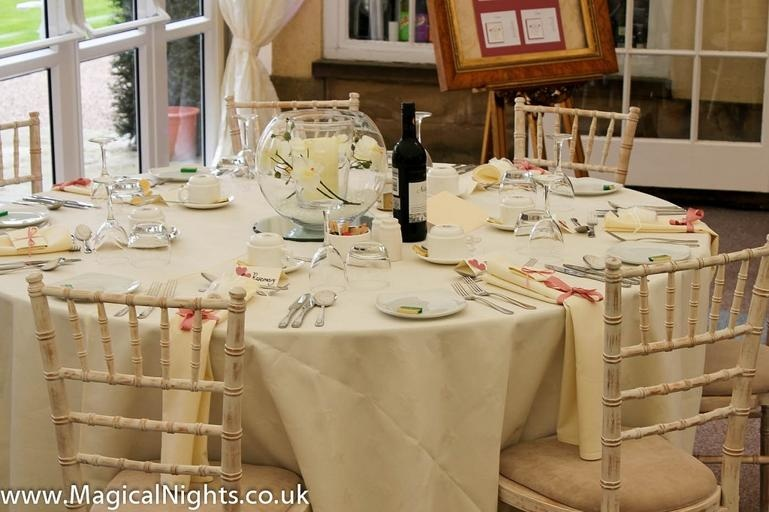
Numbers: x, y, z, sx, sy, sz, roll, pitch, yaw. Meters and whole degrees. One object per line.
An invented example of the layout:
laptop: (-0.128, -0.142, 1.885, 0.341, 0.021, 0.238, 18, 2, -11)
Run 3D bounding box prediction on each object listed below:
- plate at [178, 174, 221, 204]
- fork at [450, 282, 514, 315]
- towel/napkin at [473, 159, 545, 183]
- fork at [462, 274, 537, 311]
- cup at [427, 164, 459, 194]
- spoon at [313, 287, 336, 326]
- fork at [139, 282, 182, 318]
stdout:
plate: (-0.709, -0.257, 2.590, 0.138, 0.097, 0.101, -4, 16, -10)
fork: (0.277, 0.118, 1.865, 0.023, 0.019, 0.128, -40, 51, -21)
towel/napkin: (0.502, -0.370, 2.897, 0.170, 0.053, 0.167, -11, 18, -36)
fork: (0.335, 0.103, 1.891, 0.028, 0.032, 0.203, -36, 38, -30)
cup: (0.243, -0.305, 2.721, 0.123, 0.111, 0.125, -1, 16, 0)
spoon: (-0.161, 0.139, 1.789, 0.058, 0.026, 0.155, 4, 30, 0)
fork: (-0.635, 0.122, 1.879, 0.043, 0.027, 0.179, 4, 17, 6)
